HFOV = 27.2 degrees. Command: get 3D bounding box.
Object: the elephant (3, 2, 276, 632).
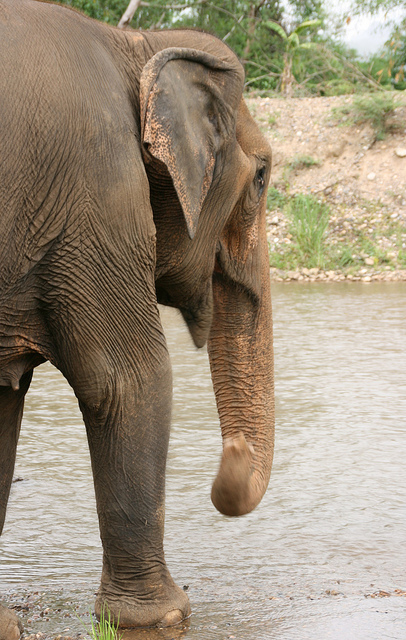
[{"bbox_3d":[-0.104,0.033,2.023,0.566,1.447,0.855,10,16,16],"label":"elephant"}]
